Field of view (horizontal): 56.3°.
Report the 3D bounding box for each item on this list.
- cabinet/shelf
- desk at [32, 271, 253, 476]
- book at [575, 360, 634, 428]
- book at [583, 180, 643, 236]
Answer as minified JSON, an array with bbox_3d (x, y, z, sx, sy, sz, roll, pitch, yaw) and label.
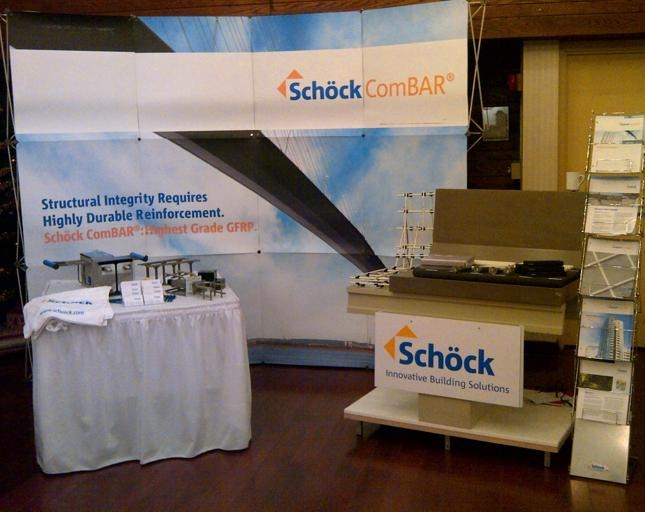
[{"bbox_3d":[0.945,0.700,4.124,1.426,1.055,0.836,1,3,27],"label":"cabinet/shelf"},{"bbox_3d":[-1.238,0.598,4.143,1.119,0.815,1.152,-4,8,-18],"label":"desk"},{"bbox_3d":[1.653,0.810,3.553,0.324,0.050,0.431,5,43,24],"label":"book"},{"bbox_3d":[1.727,-0.286,3.552,0.297,0.384,0.039,5,-22,25],"label":"book"}]
